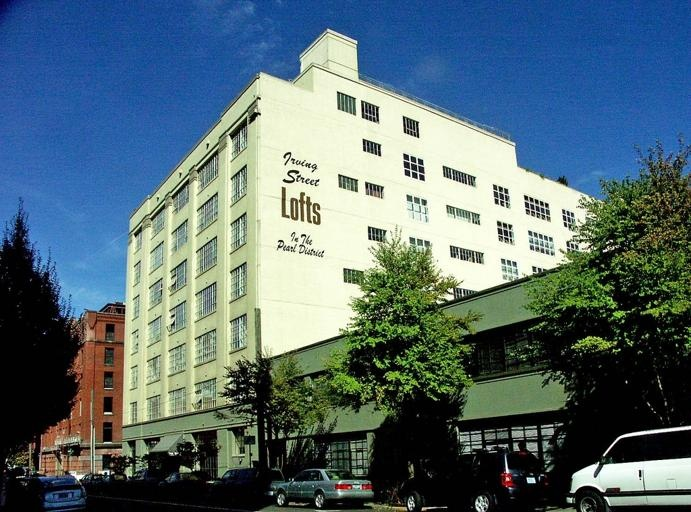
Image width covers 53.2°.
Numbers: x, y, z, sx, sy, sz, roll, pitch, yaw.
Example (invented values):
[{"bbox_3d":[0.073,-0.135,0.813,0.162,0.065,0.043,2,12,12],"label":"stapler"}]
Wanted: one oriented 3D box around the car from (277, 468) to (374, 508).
[{"bbox_3d":[-1.300,11.138,33.081,1.872,1.800,5.686,14,-27,-38],"label":"car"}]
